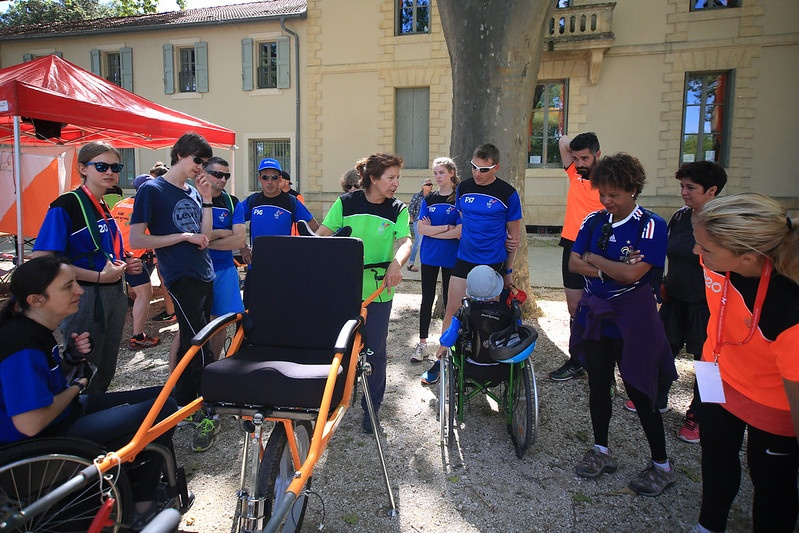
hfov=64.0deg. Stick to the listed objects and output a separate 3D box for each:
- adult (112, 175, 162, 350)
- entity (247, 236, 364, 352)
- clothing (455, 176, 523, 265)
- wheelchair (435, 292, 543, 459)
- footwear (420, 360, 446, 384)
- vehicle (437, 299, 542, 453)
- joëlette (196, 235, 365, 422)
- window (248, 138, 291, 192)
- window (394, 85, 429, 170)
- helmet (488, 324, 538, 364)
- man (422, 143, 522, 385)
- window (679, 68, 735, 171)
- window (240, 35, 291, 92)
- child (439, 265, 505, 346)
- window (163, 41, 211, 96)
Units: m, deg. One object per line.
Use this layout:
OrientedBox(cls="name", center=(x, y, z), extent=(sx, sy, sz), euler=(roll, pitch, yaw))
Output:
OrientedBox(cls="adult", center=(-3.393, -0.070, 8.443), extent=(0.602, 2.179, 0.568), euler=(-3, 1, -37))
OrientedBox(cls="entity", center=(-0.828, 0.286, 5.814), extent=(0.867, 0.916, 0.304), euler=(1, -7, 7))
OrientedBox(cls="clothing", center=(1.014, -0.527, 7.471), extent=(0.857, 1.029, 0.513), euler=(8, 13, 41))
OrientedBox(cls="wheelchair", center=(0.575, 1.036, 6.311), extent=(1.530, 1.537, 1.425), euler=(2, -6, 1))
OrientedBox(cls="footwear", center=(0.370, 1.240, 7.340), extent=(0.144, 0.192, 0.421), euler=(-3, -4, 31))
OrientedBox(cls="vehicle", center=(0.868, 1.070, 6.258), extent=(0.923, 1.502, 0.504), euler=(2, 11, 10))
OrientedBox(cls="joëlette", center=(-0.914, 0.465, 5.559), extent=(1.039, 1.446, 1.551), euler=(2, 9, 7))
OrientedBox(cls="window", center=(-3.698, -3.177, 18.732), extent=(1.319, 1.689, 0.128), euler=(-2, -30, -9))
OrientedBox(cls="window", center=(0.363, -3.878, 17.675), extent=(0.981, 2.561, 0.232), euler=(-2, 43, -1))
OrientedBox(cls="helmet", center=(1.127, 0.668, 6.034), extent=(0.314, 0.462, 0.166), euler=(17, 1, 37))
OrientedBox(cls="man", center=(0.845, -0.032, 7.764), extent=(1.136, 2.986, 0.975), euler=(-2, 15, -6))
OrientedBox(cls="window", center=(7.591, -3.698, 15.874), extent=(1.062, 2.264, 0.387), euler=(4, 12, 21))
OrientedBox(cls="window", center=(-3.777, -5.872, 18.450), extent=(1.427, 1.465, 0.438), euler=(0, 9, 9))
OrientedBox(cls="child", center=(0.795, 0.465, 6.520), extent=(0.583, 0.959, 0.413), euler=(14, 10, 31))
OrientedBox(cls="window", center=(-6.302, -6.008, 19.101), extent=(1.462, 1.547, 0.460), euler=(1, 6, 6))
